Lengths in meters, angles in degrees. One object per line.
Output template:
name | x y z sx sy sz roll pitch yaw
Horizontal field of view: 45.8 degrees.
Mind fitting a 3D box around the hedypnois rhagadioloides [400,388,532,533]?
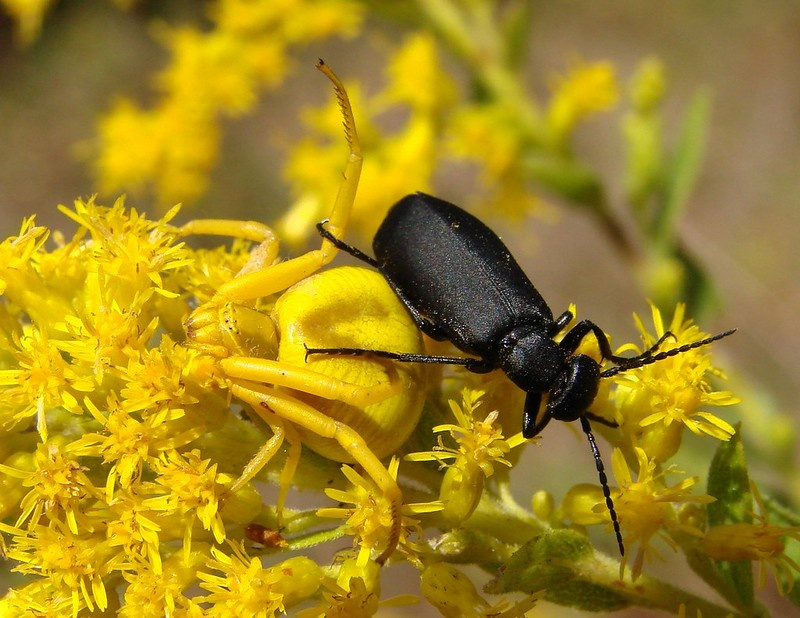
hedypnois rhagadioloides | 0.160 0.345 2.307 0.267 0.323 0.249 -1 7 -8

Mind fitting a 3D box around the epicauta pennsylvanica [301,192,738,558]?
epicauta pennsylvanica | 0.376 0.014 2.834 1.329 0.906 0.892 -9 8 -20
